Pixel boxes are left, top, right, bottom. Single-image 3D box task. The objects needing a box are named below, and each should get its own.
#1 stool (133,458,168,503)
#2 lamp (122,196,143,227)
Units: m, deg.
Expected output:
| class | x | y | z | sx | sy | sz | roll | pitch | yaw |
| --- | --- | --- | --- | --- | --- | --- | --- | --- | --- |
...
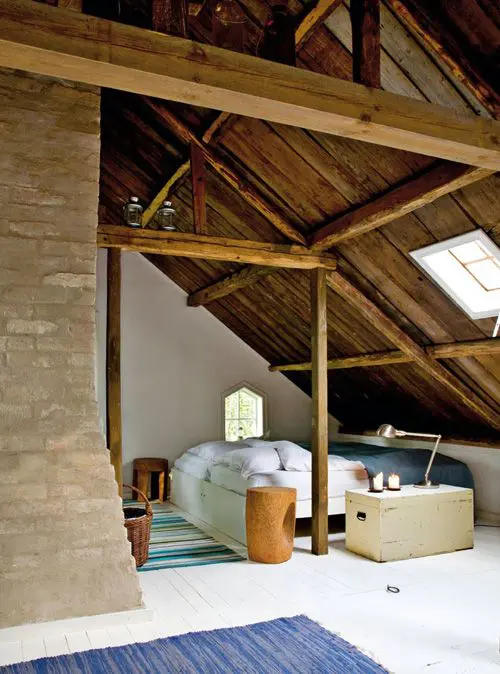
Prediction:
| class | x | y | z | sx | sy | sz | roll | pitch | yaw |
| --- | --- | --- | --- | --- | --- | --- | --- | --- | --- |
| stool | -1.094 | 1.598 | 7.140 | 0.487 | 0.460 | 0.449 | 0 | -4 | -9 |
| lamp | -0.899 | -0.947 | 4.892 | 0.132 | 0.277 | 0.234 | 1 | -4 | -11 |
